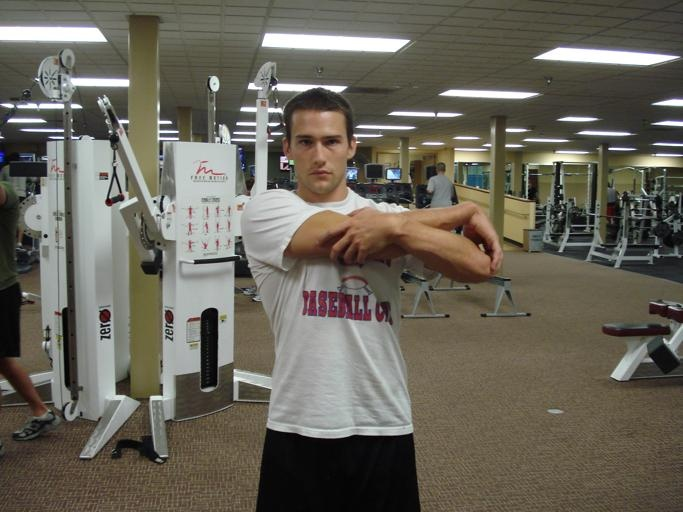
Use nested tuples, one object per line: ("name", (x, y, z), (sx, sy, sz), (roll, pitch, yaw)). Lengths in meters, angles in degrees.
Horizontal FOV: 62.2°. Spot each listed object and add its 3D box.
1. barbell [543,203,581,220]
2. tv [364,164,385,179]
("barbell", (6.113, -1.256, 15.590), (0.692, 0.252, 0.571), (4, 3, 15))
("tv", (0.712, -1.825, 12.182), (0.330, 0.228, 0.325), (0, 5, 2))
